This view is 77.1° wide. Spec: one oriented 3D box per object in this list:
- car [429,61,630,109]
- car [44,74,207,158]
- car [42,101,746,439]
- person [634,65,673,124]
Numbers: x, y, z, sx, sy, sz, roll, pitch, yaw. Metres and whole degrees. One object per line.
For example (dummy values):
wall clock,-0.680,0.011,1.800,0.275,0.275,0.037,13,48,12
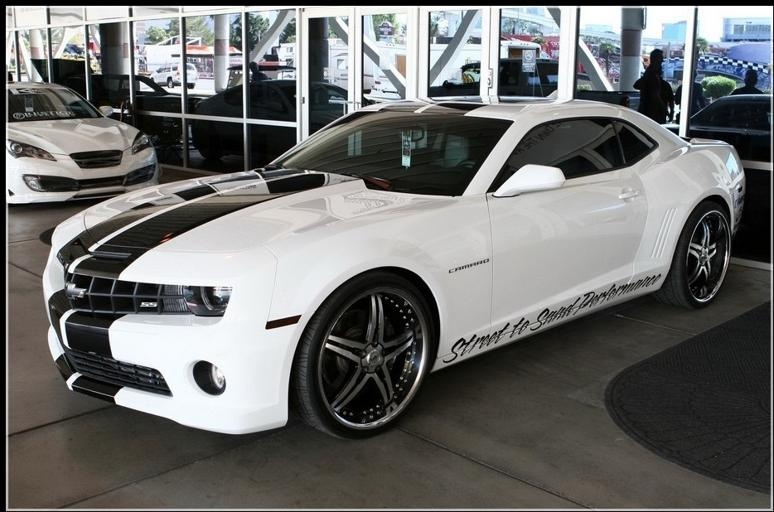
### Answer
car,2.142,-2.735,7.648,2.542,0.870,1.393,4,17,18
car,-7.470,-3.833,14.035,5.172,2.217,2.800,7,16,17
car,0.555,-0.115,3.978,5.210,1.532,2.473,-8,13,-34
person,3.608,-2.147,6.528,0.285,0.730,0.561,-17,19,-38
